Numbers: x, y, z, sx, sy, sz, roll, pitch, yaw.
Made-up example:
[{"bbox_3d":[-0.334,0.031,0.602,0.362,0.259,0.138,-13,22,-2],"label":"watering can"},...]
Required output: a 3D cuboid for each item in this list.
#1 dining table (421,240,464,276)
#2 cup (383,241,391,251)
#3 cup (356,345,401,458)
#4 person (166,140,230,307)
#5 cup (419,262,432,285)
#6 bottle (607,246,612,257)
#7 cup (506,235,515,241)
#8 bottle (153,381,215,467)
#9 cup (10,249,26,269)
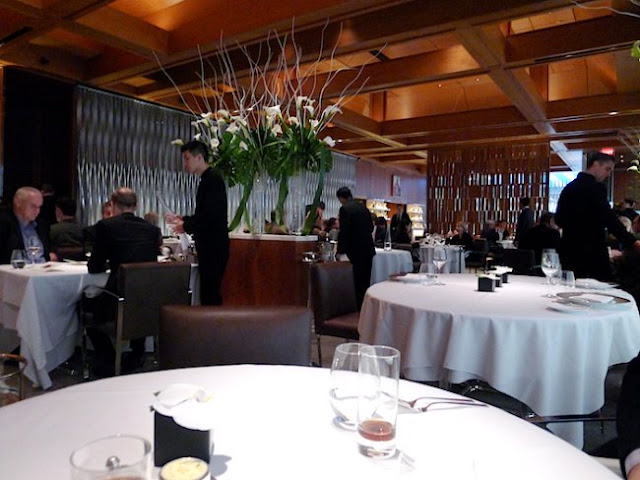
[{"bbox_3d":[1.506,0.209,6.233,0.547,0.322,0.480,-2,4,-19],"label":"dining table"},{"bbox_3d":[0.860,0.073,6.469,0.103,0.165,0.096,1,-3,0],"label":"cup"},{"bbox_3d":[0.162,0.437,1.411,0.111,0.293,0.155,1,7,8],"label":"cup"},{"bbox_3d":[-1.018,-0.161,4.488,0.390,1.444,0.268,-1,7,-11],"label":"person"},{"bbox_3d":[0.689,0.220,3.287,0.107,0.177,0.118,-1,0,26],"label":"cup"},{"bbox_3d":[2.993,0.117,5.252,0.079,0.110,0.032,7,-17,-32],"label":"bottle"},{"bbox_3d":[4.881,-0.070,12.996,0.213,0.118,0.311,1,1,13],"label":"cup"},{"bbox_3d":[-0.355,0.487,1.395,0.181,0.194,0.175,-1,-2,12],"label":"bottle"},{"bbox_3d":[-2.249,0.136,3.774,0.119,0.168,0.131,4,4,41],"label":"cup"}]
